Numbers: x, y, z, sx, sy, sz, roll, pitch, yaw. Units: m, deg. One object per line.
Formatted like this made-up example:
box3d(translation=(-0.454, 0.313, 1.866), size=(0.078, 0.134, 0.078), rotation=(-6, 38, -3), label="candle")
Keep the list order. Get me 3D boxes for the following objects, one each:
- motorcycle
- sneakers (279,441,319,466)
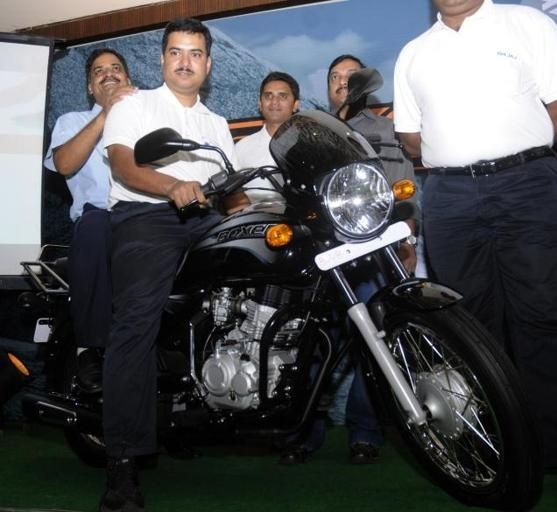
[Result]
box3d(translation=(-0.158, 0.127, 2.013), size=(1.901, 1.598, 0.814), rotation=(-7, -8, 34), label="motorcycle")
box3d(translation=(0.095, 0.930, 2.427), size=(0.068, 0.062, 0.184), rotation=(-11, -14, 40), label="sneakers")
